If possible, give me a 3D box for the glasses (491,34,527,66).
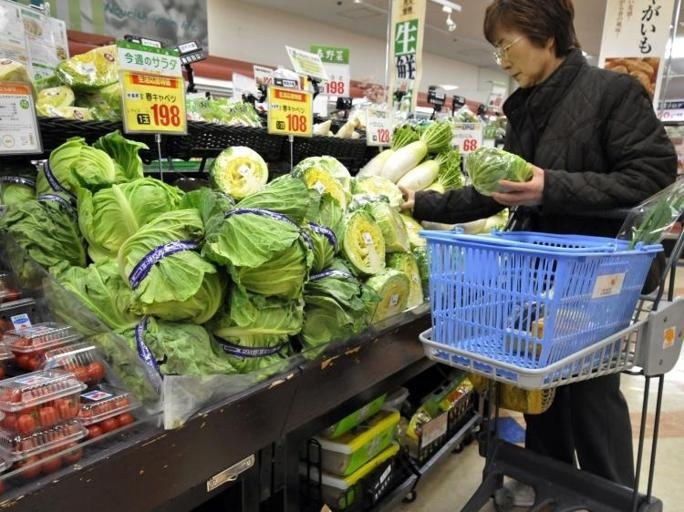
[{"bbox_3d":[0.710,-0.910,1.891,0.109,0.036,0.107,-21,2,-1],"label":"glasses"}]

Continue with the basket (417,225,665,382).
[{"bbox_3d":[0.686,0.106,1.705,0.919,0.489,0.772,13,17,30],"label":"basket"}]

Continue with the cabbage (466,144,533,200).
[{"bbox_3d":[0.591,-0.329,1.675,0.229,0.185,0.163,9,20,24],"label":"cabbage"}]
